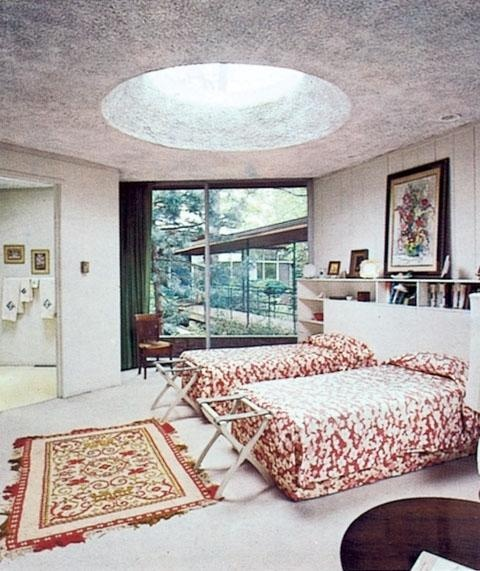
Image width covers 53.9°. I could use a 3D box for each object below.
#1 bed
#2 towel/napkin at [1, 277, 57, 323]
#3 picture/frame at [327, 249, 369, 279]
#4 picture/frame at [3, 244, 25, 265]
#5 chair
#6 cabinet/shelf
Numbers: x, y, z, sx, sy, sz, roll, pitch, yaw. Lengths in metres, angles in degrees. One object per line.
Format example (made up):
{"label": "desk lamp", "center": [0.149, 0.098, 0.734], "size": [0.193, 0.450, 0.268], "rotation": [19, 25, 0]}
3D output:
{"label": "bed", "center": [0.636, 0.846, 3.528], "size": [1.658, 0.601, 1.691], "rotation": [-2, 4, -24]}
{"label": "towel/napkin", "center": [-2.697, 0.153, 6.024], "size": [0.670, 0.459, 0.073], "rotation": [0, 6, -5]}
{"label": "picture/frame", "center": [1.199, -0.248, 5.325], "size": [0.154, 0.313, 0.697], "rotation": [-2, 4, -16]}
{"label": "picture/frame", "center": [-2.913, -0.403, 6.070], "size": [0.299, 0.297, 0.027], "rotation": [0, 3, -20]}
{"label": "chair", "center": [-1.011, 0.703, 5.604], "size": [0.458, 0.648, 0.383], "rotation": [0, 7, -16]}
{"label": "cabinet/shelf", "center": [1.293, 0.314, 4.468], "size": [1.818, 0.763, 0.338], "rotation": [5, 7, -18]}
